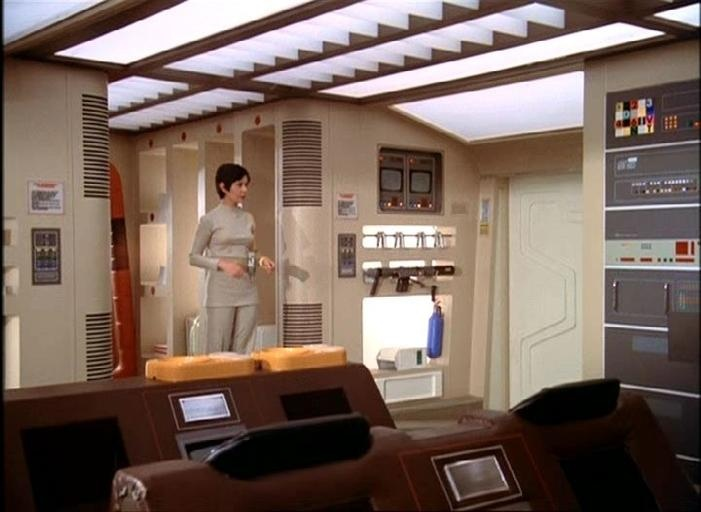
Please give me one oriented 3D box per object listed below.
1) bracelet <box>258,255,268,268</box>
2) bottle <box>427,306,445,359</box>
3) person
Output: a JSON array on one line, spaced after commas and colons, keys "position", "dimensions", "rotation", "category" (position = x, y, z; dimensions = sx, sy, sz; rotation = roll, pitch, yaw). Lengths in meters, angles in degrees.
[{"position": [-0.886, 0.055, 5.343], "dimensions": [0.085, 0.099, 0.167], "rotation": [2, 1, -13], "category": "bracelet"}, {"position": [1.092, 0.959, 6.873], "dimensions": [0.223, 0.706, 0.119], "rotation": [1, -4, 7], "category": "bottle"}, {"position": [-1.148, -0.005, 5.075], "dimensions": [0.683, 1.835, 0.597], "rotation": [1, -4, 4], "category": "person"}]
